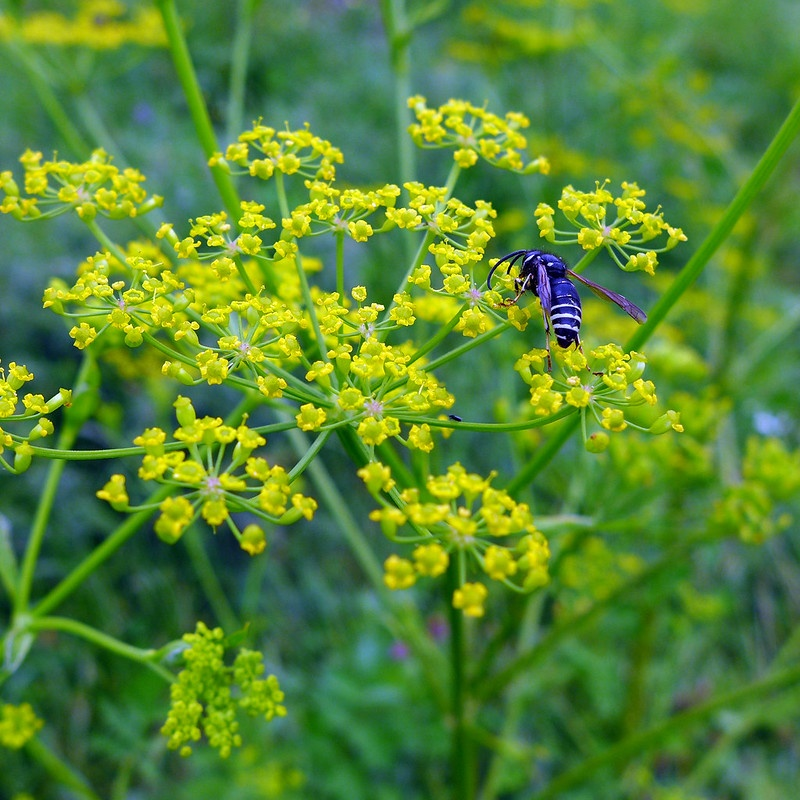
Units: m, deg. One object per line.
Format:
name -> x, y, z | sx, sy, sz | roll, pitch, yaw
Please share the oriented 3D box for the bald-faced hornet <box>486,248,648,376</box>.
bald-faced hornet -> 0.283, -0.179, 1.609 | 0.223, 0.120, 0.282 | 3, 40, -25
